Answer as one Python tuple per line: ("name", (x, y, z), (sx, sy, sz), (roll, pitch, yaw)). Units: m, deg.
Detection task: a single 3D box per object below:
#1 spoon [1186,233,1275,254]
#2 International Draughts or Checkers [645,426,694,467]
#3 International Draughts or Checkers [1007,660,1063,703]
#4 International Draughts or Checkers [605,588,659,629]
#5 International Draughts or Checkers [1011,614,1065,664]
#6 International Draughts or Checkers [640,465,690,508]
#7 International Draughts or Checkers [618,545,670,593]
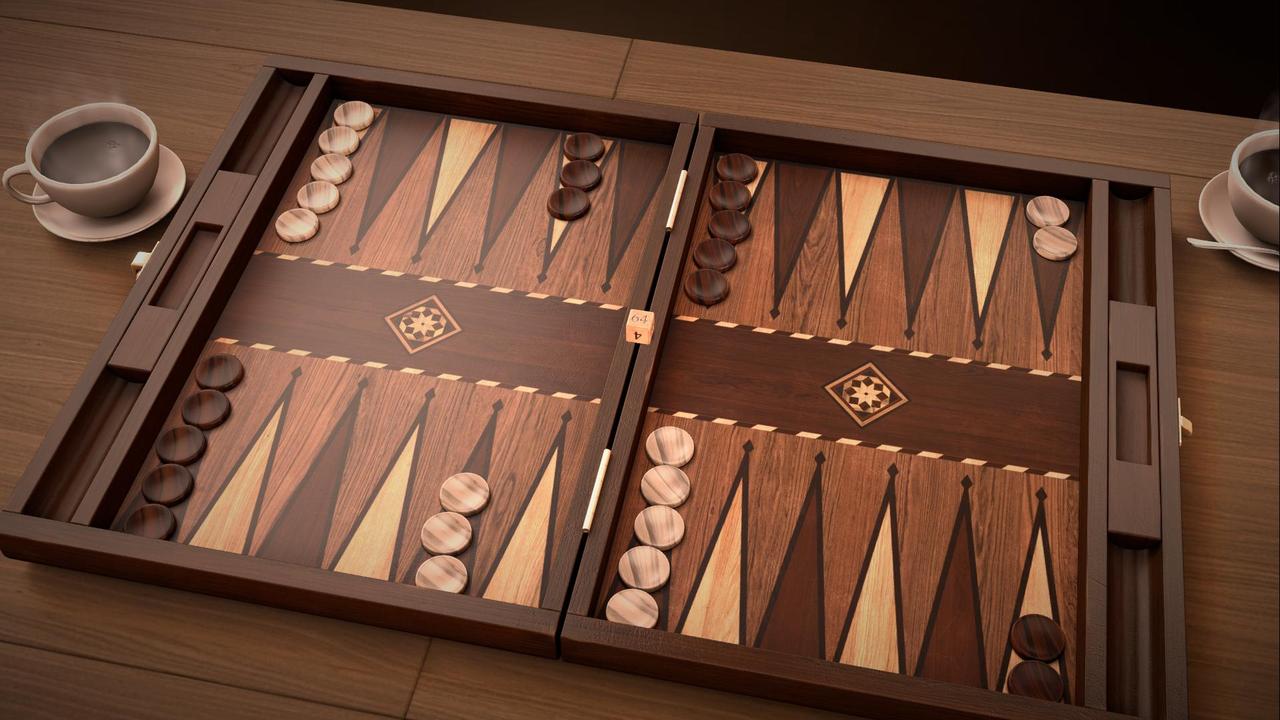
("spoon", (1.786, -0.348, 3.279), (0.341, 0.039, 0.036), (5, 7, 1))
("International Draughts or Checkers", (0.085, 0.249, 3.067), (0.128, 0.023, 0.102), (0, 63, -1))
("International Draughts or Checkers", (1.027, 0.833, 2.827), (0.122, 0.026, 0.098), (1, 60, 4))
("International Draughts or Checkers", (-0.019, 0.654, 2.873), (0.143, 0.041, 0.103), (2, 48, -11))
("International Draughts or Checkers", (1.043, 0.732, 2.868), (0.136, 0.066, 0.115), (3, 49, -11))
("International Draughts or Checkers", (0.068, 0.347, 2.986), (0.131, 0.059, 0.108), (32, 50, 15))
("International Draughts or Checkers", (0.010, 0.556, 2.909), (0.135, 0.024, 0.108), (3, 60, -1))
